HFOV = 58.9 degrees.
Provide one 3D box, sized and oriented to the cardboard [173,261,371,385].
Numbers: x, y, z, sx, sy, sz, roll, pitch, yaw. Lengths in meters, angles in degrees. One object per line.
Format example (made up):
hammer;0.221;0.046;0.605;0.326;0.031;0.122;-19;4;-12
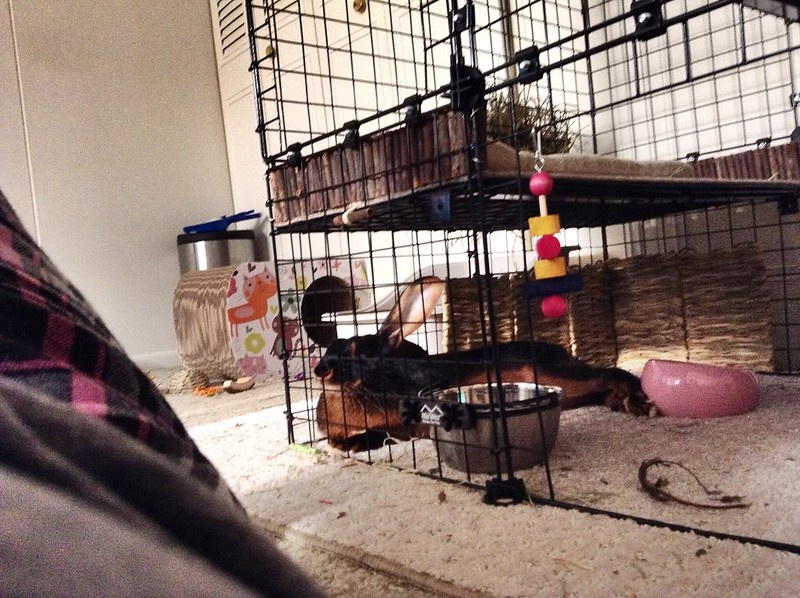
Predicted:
cardboard;-0.525;0.063;3.437;0.917;0.621;0.514;-16;13;-38

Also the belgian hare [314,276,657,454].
belgian hare;0.261;0.155;2.108;1.017;0.471;0.373;-3;2;-18

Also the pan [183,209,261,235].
pan;-1.199;-0.517;4.745;0.345;0.072;0.099;-26;13;-29

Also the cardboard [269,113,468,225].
cardboard;-0.111;-0.307;1.724;0.690;0.226;0.039;3;12;44

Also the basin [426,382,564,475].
basin;0.214;0.281;1.719;0.362;0.188;0.386;2;11;0

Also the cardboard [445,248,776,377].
cardboard;0.822;0.034;2.402;0.536;0.344;0.833;-3;0;33

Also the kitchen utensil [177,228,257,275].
kitchen utensil;-1.236;-0.213;4.645;0.395;0.427;0.415;0;-4;-26
